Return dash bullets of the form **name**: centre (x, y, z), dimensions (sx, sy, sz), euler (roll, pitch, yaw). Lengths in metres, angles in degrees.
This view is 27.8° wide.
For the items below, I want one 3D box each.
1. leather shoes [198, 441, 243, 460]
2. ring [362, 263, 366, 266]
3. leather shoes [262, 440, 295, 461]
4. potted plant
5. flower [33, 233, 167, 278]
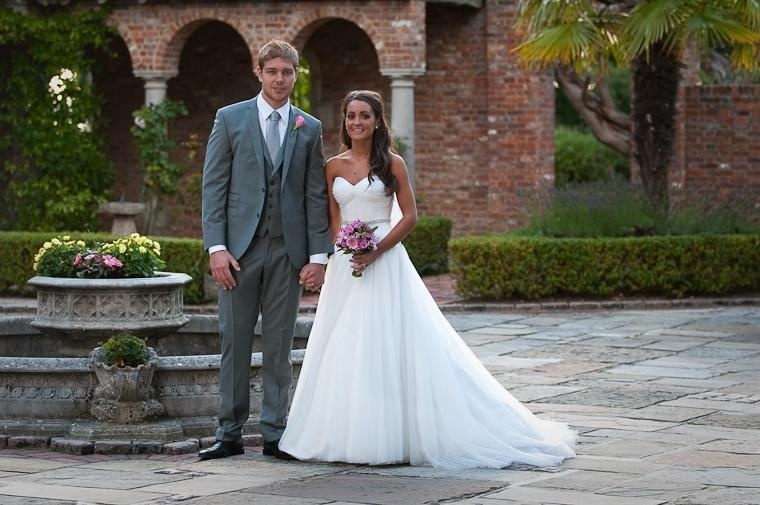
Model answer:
- **leather shoes**: centre (-1.489, 1.876, 14.499), dimensions (0.421, 0.181, 0.156), euler (3, -3, -15)
- **ring**: centre (-0.157, 0.112, 14.670), dimensions (0.030, 0.028, 0.007), euler (-1, -6, -6)
- **leather shoes**: centre (-0.956, 1.885, 14.612), dimensions (0.361, 0.154, 0.129), euler (4, 3, 30)
- **potted plant**: centre (-2.536, 1.116, 15.108), dimensions (0.677, 0.586, 0.796), euler (0, 12, -10)
- **flower**: centre (-2.877, 0.048, 15.783), dimensions (1.305, 0.338, 0.482), euler (-2, 1, -9)
